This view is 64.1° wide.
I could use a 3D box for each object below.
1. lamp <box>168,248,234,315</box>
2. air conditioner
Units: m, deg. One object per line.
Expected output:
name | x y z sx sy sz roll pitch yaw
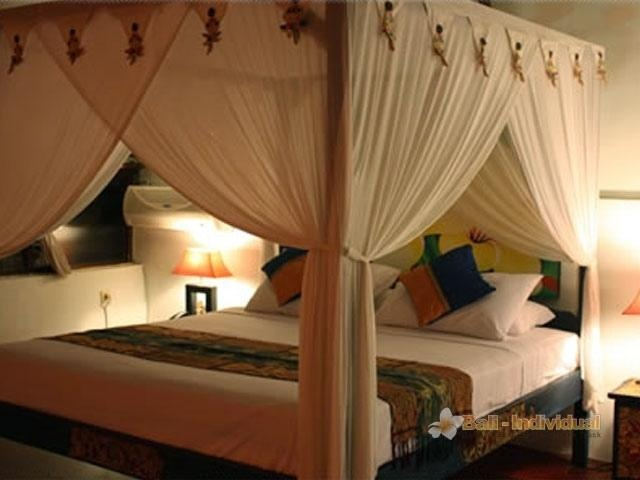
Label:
lamp | -1.149 0.407 4.990 0.554 0.656 0.340 7 9 29
air conditioner | -1.651 -0.315 5.331 0.737 0.289 0.768 8 -1 18
